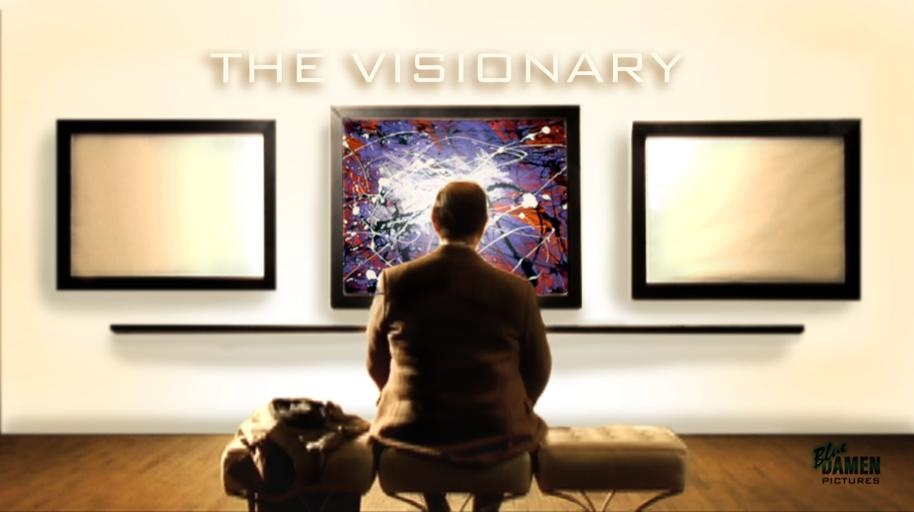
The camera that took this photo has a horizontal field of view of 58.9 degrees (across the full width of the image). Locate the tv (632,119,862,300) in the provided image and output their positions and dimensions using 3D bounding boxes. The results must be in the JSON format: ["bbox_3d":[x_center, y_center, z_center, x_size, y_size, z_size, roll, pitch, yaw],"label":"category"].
[{"bbox_3d":[3.253,-0.542,8.893,2.273,1.629,0.170,0,-1,1],"label":"tv"}]
